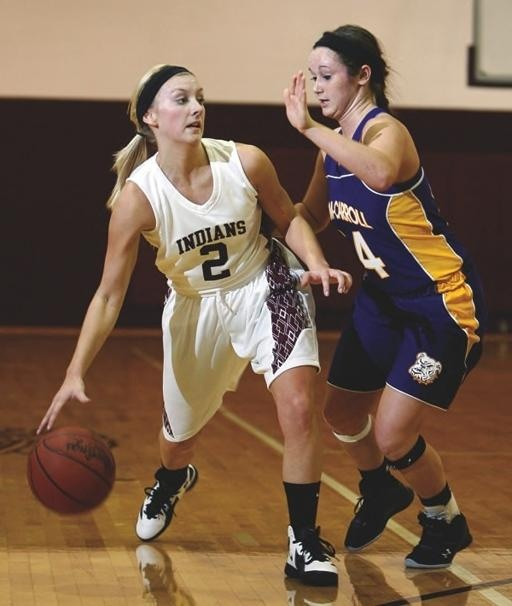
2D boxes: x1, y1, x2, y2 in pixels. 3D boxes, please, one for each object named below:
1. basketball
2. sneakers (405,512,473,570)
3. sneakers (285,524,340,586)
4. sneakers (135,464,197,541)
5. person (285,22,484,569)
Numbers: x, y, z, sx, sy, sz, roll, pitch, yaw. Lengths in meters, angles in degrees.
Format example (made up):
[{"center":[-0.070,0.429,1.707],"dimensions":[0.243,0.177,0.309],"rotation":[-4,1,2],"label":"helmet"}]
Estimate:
[{"center":[-0.455,0.445,1.737],"dimensions":[0.246,0.210,0.214],"rotation":[9,27,-13],"label":"basketball"},{"center":[0.470,0.623,1.747],"dimensions":[0.246,0.093,0.081],"rotation":[-3,-1,-43],"label":"sneakers"},{"center":[0.130,0.601,1.547],"dimensions":[0.122,0.121,0.105],"rotation":[1,-2,2],"label":"sneakers"},{"center":[-0.263,0.589,1.962],"dimensions":[0.102,0.088,0.249],"rotation":[17,43,15],"label":"sneakers"},{"center":[0.341,-0.029,1.746],"dimensions":[0.498,1.424,0.581],"rotation":[1,-2,15],"label":"person"}]
